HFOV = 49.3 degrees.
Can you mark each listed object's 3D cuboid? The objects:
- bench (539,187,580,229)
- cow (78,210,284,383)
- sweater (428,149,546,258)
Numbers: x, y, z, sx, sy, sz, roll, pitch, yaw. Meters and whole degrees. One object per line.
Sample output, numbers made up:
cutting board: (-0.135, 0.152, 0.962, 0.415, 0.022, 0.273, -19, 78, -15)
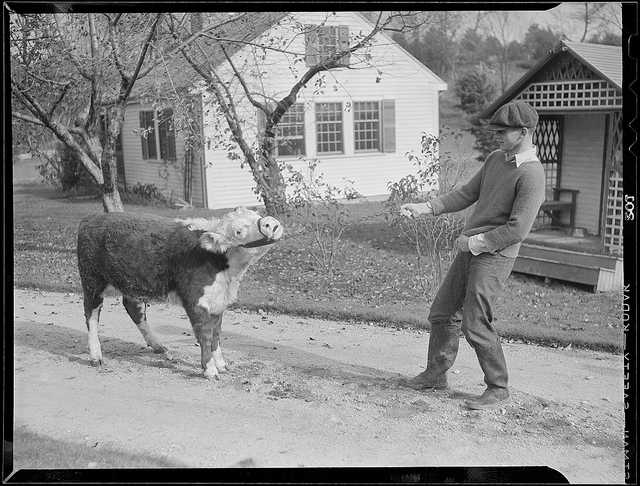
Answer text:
bench: (4.351, -0.617, 13.029, 0.821, 0.752, 0.811, -11, 14, -39)
cow: (-1.465, 0.522, 7.325, 2.172, 1.954, 0.877, 4, 18, 8)
sweater: (1.595, -0.431, 6.568, 0.522, 0.960, 1.039, 10, 18, -36)
